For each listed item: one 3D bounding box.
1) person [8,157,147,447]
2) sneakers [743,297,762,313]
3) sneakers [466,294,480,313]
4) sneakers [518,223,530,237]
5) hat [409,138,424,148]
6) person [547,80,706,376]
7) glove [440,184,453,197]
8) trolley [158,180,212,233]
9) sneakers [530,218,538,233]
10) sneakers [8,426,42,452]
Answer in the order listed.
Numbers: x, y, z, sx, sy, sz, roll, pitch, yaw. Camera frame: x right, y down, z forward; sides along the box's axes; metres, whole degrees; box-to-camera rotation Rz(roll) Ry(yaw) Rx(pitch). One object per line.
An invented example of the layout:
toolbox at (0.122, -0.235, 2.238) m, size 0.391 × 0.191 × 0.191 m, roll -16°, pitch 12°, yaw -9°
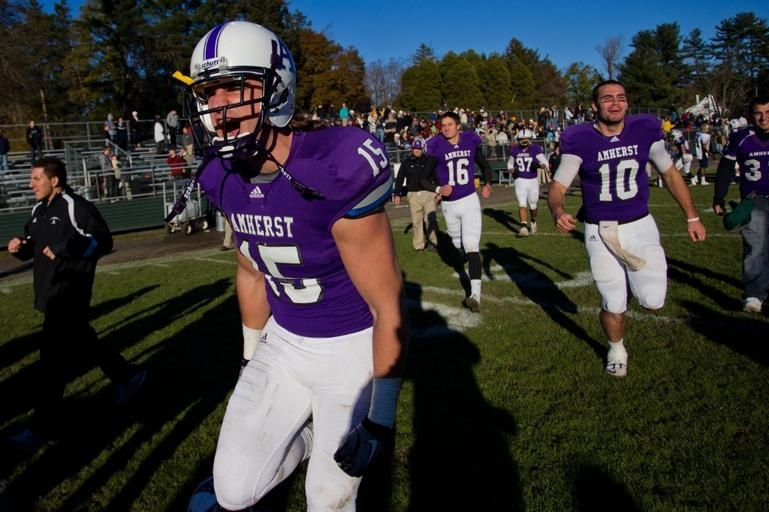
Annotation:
person at (-3.129, 0.263, 5.302) m, size 0.958 × 2.377 × 0.985 m, roll -12°, pitch 16°, yaw -29°
sneakers at (4.553, 0.613, 6.509) m, size 0.206 × 0.150 × 0.203 m, roll 4°, pitch 18°, yaw 26°
sneakers at (1.190, 0.649, 7.122) m, size 0.202 × 0.197 × 0.178 m, roll 1°, pitch 16°, yaw 17°
sneakers at (3.164, -0.563, 11.957) m, size 0.188 × 0.248 × 0.515 m, roll 0°, pitch 0°, yaw 19°
hat at (0.712, -2.320, 11.161) m, size 0.235 × 0.209 × 0.426 m, roll 2°, pitch 15°, yaw 10°
person at (2.376, -0.349, 5.592) m, size 1.162 × 2.857 × 1.175 m, roll 5°, pitch 16°, yaw 29°
glove at (0.942, -0.992, 8.229) m, size 0.169 × 0.175 × 0.237 m, roll -36°, pitch 11°, yaw -5°
trolley at (-6.192, -1.348, 15.709) m, size 1.401 × 1.561 × 1.005 m, roll -3°, pitch 13°, yaw 25°
sneakers at (3.520, -0.659, 12.361) m, size 0.172 × 0.216 × 0.499 m, roll -1°, pitch 12°, yaw 17°
sneakers at (-3.209, 1.645, 4.724) m, size 0.204 × 0.160 × 0.226 m, roll 8°, pitch 52°, yaw -19°
